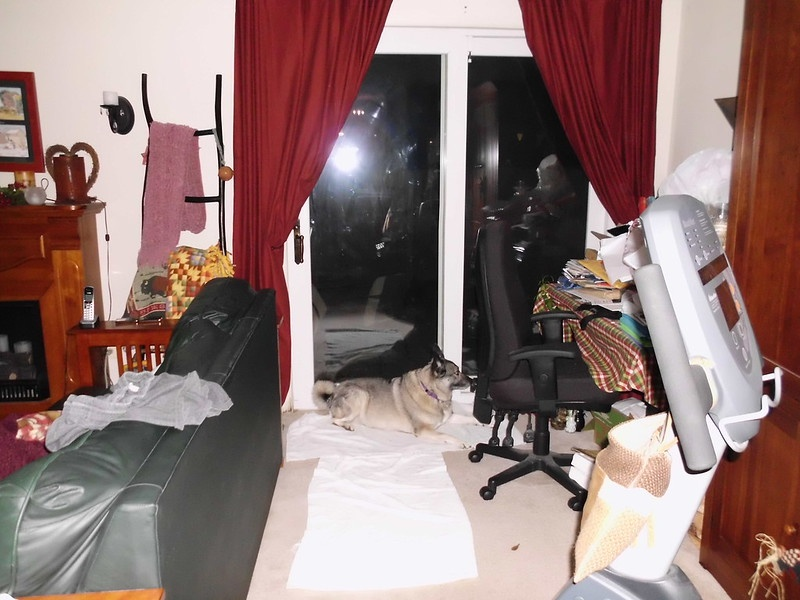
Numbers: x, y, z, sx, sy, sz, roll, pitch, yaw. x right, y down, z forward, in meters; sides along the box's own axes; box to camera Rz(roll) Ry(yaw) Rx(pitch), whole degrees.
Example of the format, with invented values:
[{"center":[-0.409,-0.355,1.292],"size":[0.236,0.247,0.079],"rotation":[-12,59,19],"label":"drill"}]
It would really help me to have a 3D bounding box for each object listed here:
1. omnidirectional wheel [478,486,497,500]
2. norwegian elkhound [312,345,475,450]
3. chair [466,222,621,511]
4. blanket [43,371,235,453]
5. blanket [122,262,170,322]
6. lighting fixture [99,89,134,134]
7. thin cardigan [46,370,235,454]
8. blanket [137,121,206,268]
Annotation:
[{"center":[0.464,1.024,3.107],"size":[0.080,0.077,0.057],"rotation":[32,0,-6],"label":"omnidirectional wheel"},{"center":[-0.032,0.565,3.937],"size":[1.327,0.801,0.458],"rotation":[3,14,3],"label":"norwegian elkhound"},{"center":[0.802,0.312,3.136],"size":[0.725,1.370,0.785],"rotation":[3,11,22],"label":"chair"},{"center":[-0.851,0.342,1.913],"size":[0.320,0.144,0.429],"rotation":[12,25,21],"label":"blanket"},{"center":[-1.604,-0.053,3.685],"size":[0.311,0.403,0.054],"rotation":[7,-8,-14],"label":"blanket"},{"center":[-1.790,-1.189,3.683],"size":[0.188,0.232,0.212],"rotation":[-2,2,-28],"label":"lighting fixture"},{"center":[-0.854,0.302,1.883],"size":[0.320,0.144,0.430],"rotation":[12,25,21],"label":"thin cardigan"},{"center":[-1.451,-0.648,3.666],"size":[0.397,0.885,0.215],"rotation":[-2,2,-26],"label":"blanket"}]
